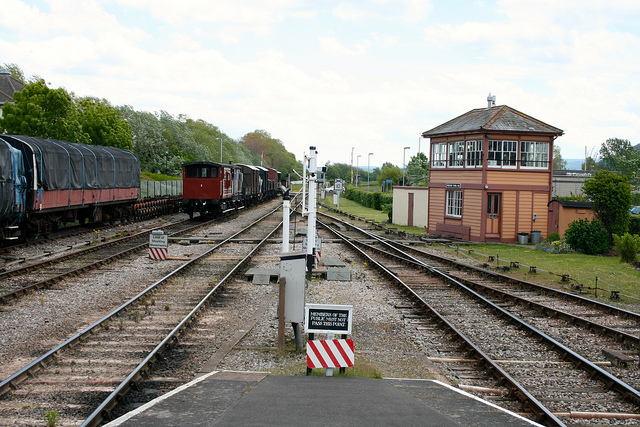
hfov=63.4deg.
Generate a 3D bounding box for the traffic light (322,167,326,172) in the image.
[{"bbox_3d":[0.173,-1.761,20.671,0.150,0.174,0.152,2,0,-4],"label":"traffic light"}]

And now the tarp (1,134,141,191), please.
[{"bbox_3d":[-12.770,-2.693,29.761,2.745,2.615,11.319,-2,-2,15],"label":"tarp"}]

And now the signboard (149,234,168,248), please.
[{"bbox_3d":[-7.018,1.206,22.563,0.586,0.384,0.591,2,0,-7],"label":"signboard"}]

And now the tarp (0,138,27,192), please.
[{"bbox_3d":[-13.334,-2.017,22.791,0.509,2.120,1.566,2,2,-13],"label":"tarp"}]
